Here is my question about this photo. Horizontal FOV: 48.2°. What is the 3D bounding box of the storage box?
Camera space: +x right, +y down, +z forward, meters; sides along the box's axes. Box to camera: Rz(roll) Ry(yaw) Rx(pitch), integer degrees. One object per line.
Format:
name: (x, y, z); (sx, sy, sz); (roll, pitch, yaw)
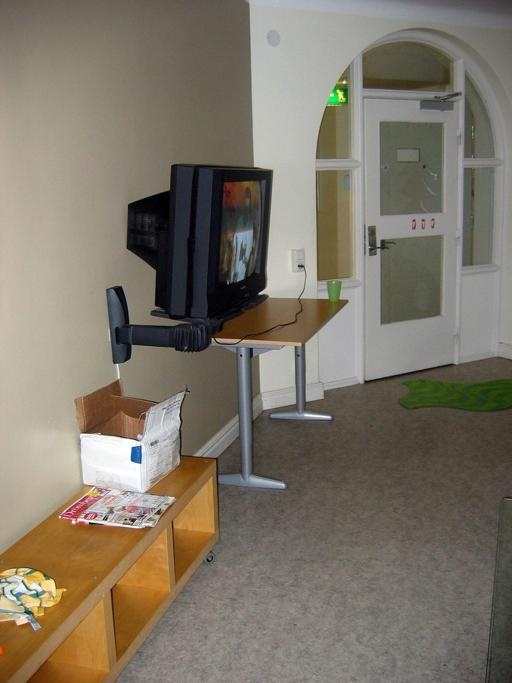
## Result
storage box: (-0.377, 0.291, 1.866); (0.305, 0.322, 0.335); (4, 13, 16)

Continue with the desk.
desk: (0.106, 0.304, 2.987); (0.329, 0.519, 0.846); (3, 21, 14)

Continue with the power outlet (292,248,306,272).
power outlet: (0.269, -0.516, 3.623); (0.065, 0.129, 0.110); (6, 24, 22)

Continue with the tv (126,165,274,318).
tv: (-0.235, -0.383, 2.194); (0.377, 0.488, 0.570); (8, 23, 14)
